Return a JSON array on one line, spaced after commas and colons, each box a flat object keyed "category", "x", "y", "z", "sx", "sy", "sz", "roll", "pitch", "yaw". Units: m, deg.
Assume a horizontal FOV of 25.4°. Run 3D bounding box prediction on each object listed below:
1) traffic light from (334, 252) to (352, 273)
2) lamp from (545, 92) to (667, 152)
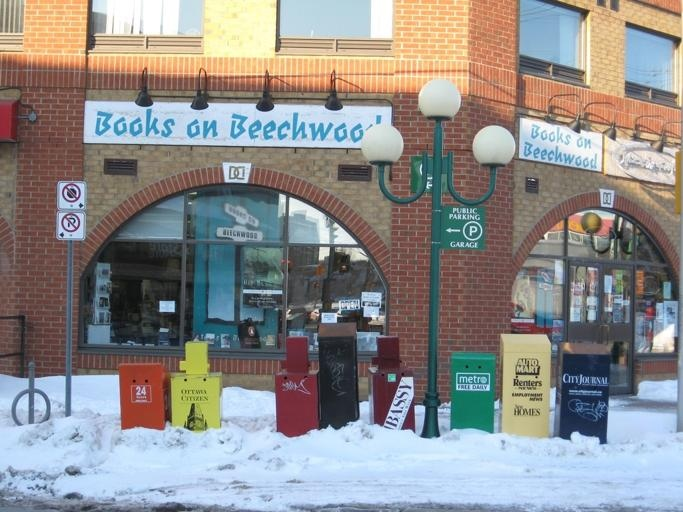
[{"category": "traffic light", "x": 0.035, "y": 0.108, "z": 29.355, "sx": 0.333, "sy": 0.490, "sz": 0.341, "roll": 1, "pitch": -6, "yaw": -13}, {"category": "lamp", "x": 5.249, "y": -2.735, "z": 30.765, "sx": 2.426, "sy": 0.679, "sz": 0.487, "roll": 17, "pitch": -17, "yaw": -3}]
